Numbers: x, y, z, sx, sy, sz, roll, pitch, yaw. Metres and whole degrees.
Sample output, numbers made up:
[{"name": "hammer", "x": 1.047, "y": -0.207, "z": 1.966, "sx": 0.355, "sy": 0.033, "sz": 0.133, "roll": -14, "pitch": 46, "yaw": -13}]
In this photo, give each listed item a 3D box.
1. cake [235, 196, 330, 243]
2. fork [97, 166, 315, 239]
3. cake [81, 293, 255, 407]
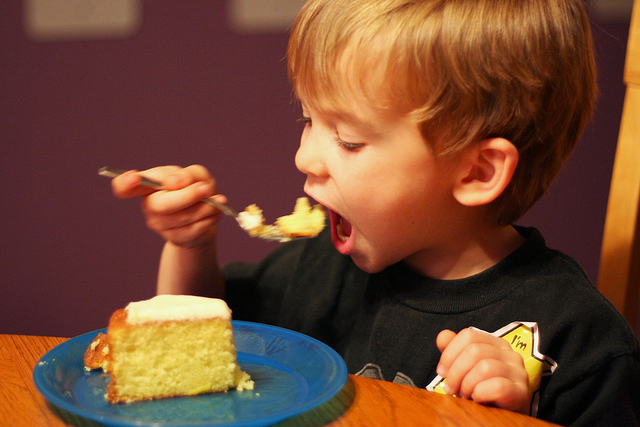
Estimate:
[{"name": "cake", "x": -0.099, "y": 0.024, "z": 1.818, "sx": 0.195, "sy": 0.064, "sz": 0.148, "roll": -21, "pitch": 29, "yaw": 5}, {"name": "fork", "x": -0.338, "y": -0.047, "z": 2.102, "sx": 0.687, "sy": 0.081, "sz": 0.090, "roll": 19, "pitch": 66, "yaw": -18}, {"name": "cake", "x": -0.381, "y": 0.351, "z": 1.643, "sx": 0.429, "sy": 0.215, "sz": 0.338, "roll": 4, "pitch": -10, "yaw": -34}]
